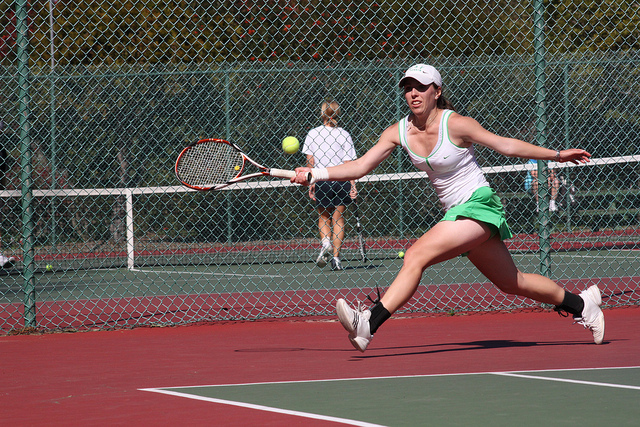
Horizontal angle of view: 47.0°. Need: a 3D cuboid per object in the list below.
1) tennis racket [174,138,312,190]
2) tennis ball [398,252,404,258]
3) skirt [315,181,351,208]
[{"bbox_3d":[-0.860,-0.398,6.036,0.639,0.409,0.709,-3,5,-14],"label":"tennis racket"},{"bbox_3d":[1.094,0.581,9.912,0.088,0.065,0.110,0,8,21],"label":"tennis ball"},{"bbox_3d":[0.143,-0.296,9.530,0.400,0.010,0.446,-5,26,6],"label":"skirt"}]
